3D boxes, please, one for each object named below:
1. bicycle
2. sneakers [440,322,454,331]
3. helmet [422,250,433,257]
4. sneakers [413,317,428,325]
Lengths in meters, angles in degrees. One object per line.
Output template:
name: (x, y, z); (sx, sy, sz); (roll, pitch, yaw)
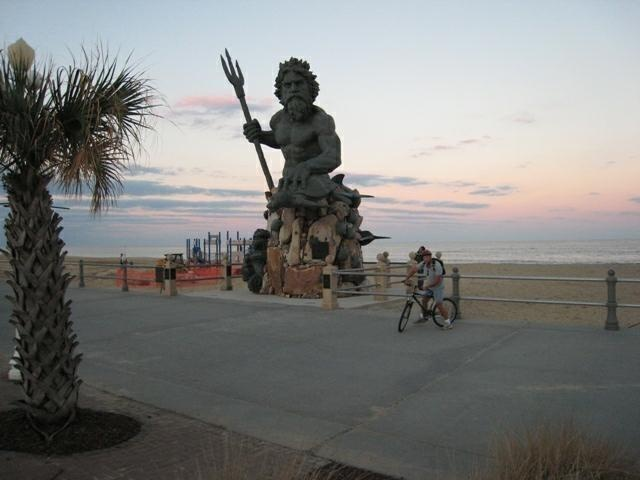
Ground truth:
bicycle: (2.476, 1.577, 12.330); (1.621, 0.987, 0.762); (-10, -22, 40)
sneakers: (2.789, 1.937, 11.744); (0.376, 0.233, 0.132); (-5, 3, 13)
helmet: (2.327, 0.296, 11.451); (0.162, 0.139, 0.129); (9, -2, 11)
sneakers: (2.385, 1.918, 12.386); (0.372, 0.169, 0.127); (1, -1, -4)
